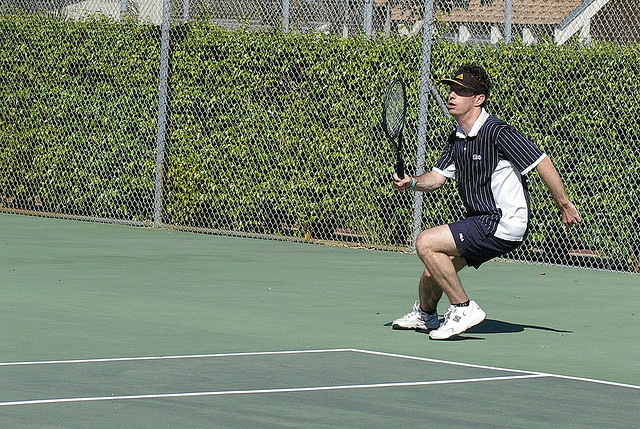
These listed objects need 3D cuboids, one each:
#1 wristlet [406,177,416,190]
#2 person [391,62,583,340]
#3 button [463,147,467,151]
[{"bbox_3d":[0.697,-0.234,6.003,0.028,0.077,0.059,8,32,-5],"label":"wristlet"},{"bbox_3d":[1.172,-0.106,5.935,1.215,2.073,0.539,1,2,4],"label":"person"},{"bbox_3d":[1.091,-0.496,5.873,0.023,0.024,0.006,1,4,6],"label":"button"}]
